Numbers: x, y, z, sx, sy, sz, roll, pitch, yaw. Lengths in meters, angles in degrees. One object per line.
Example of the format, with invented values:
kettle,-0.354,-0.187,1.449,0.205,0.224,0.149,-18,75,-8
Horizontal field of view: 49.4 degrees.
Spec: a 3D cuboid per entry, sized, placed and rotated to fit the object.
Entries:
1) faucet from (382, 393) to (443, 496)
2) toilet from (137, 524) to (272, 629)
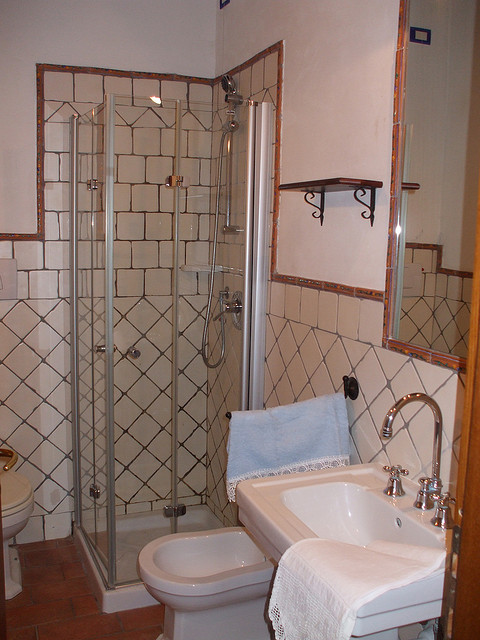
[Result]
faucet,0.354,0.255,1.058,0.129,0.265,0.047,-7,31,4
toilet,-0.102,0.914,1.792,0.411,0.317,0.340,0,2,-25
